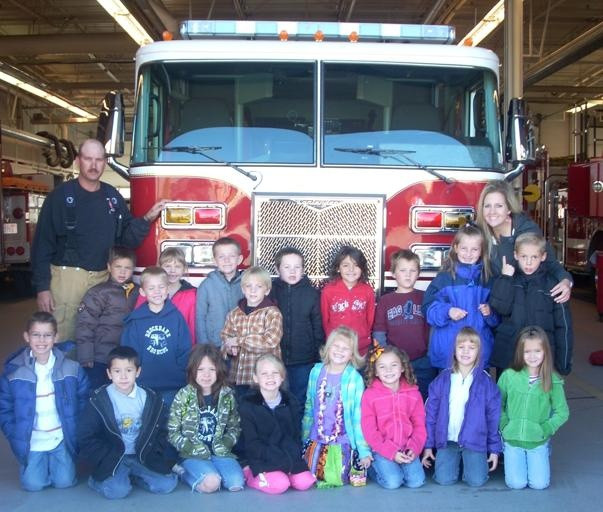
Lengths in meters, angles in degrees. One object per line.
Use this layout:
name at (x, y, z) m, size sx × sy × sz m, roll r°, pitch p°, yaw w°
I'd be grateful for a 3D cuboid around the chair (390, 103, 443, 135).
chair at (0.928, -1.124, 5.173) m, size 0.260 × 0.367 × 0.295 m, roll 0°, pitch 5°, yaw -1°
